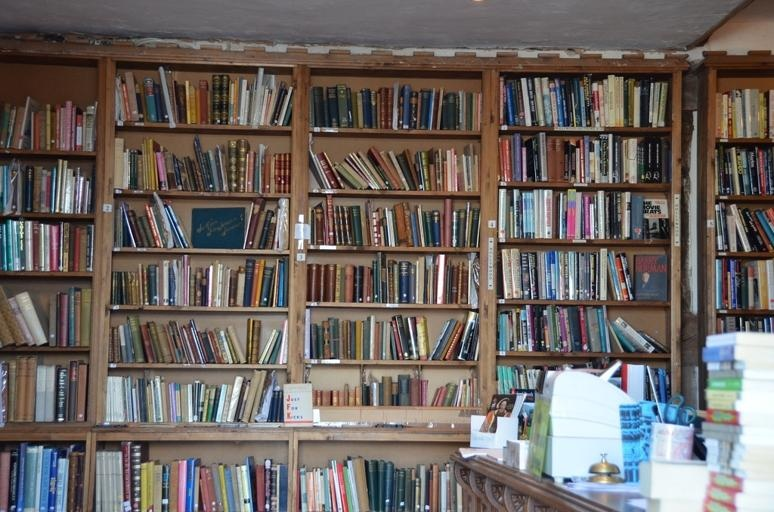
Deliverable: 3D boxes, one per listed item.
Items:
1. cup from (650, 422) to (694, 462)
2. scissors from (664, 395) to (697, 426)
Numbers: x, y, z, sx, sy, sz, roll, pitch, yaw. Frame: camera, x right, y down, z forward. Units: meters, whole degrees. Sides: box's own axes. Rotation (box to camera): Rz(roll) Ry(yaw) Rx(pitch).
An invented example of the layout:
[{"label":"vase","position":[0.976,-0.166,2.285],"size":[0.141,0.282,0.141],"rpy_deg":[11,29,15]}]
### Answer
[{"label":"cup","position":[1.431,0.947,4.502],"size":[0.245,0.230,0.220],"rpy_deg":[9,-14,-18]},{"label":"scissors","position":[1.563,0.858,4.704],"size":[0.147,0.184,0.063],"rpy_deg":[0,31,18]}]
